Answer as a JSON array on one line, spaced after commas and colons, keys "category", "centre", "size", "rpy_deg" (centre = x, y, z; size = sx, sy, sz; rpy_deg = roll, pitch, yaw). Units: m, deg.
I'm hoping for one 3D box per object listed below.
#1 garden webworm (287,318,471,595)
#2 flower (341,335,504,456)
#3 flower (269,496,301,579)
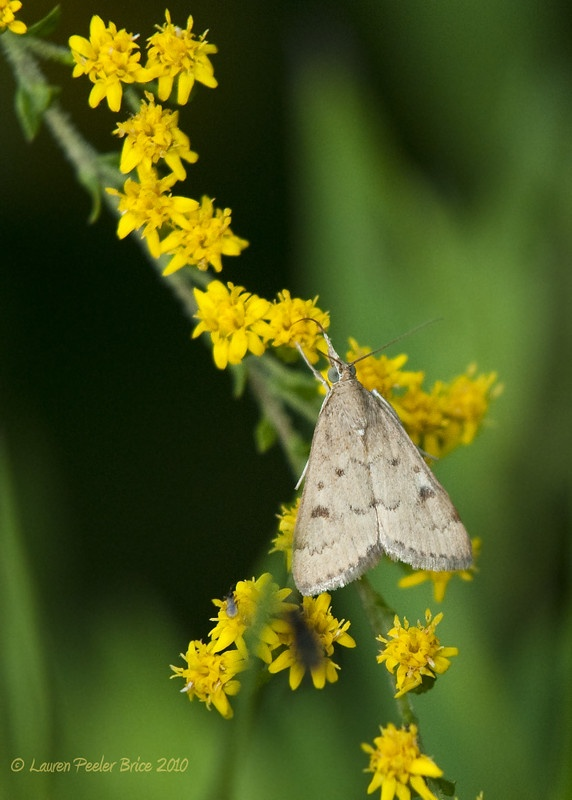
[{"category": "garden webworm", "centre": [0.083, 0.075, 0.958], "size": [0.200, 0.292, 0.068], "rpy_deg": [-10, -4, -4]}, {"category": "flower", "centre": [0.157, 0.000, 1.047], "size": [0.146, 0.143, 0.051], "rpy_deg": [44, -12, -3]}, {"category": "flower", "centre": [-0.004, 0.148, 0.965], "size": [0.038, 0.074, 0.046], "rpy_deg": [-10, 21, -11]}]
